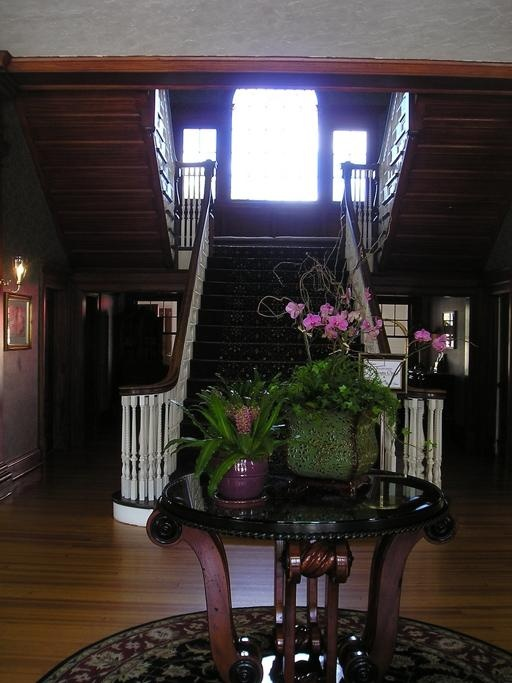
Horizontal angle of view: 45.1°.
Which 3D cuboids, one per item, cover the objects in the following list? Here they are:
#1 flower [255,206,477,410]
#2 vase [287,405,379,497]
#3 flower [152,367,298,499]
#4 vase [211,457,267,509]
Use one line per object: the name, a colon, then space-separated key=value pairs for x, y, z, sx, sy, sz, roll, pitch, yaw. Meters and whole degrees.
flower: x=0.521 y=-0.137 z=3.108 sx=0.620 sy=0.400 sz=1.181 roll=-21 pitch=16 yaw=3
vase: x=0.260 y=0.372 z=2.097 sx=0.327 sy=0.263 sz=0.306 roll=-5 pitch=-10 yaw=43
flower: x=-0.112 y=0.336 z=2.012 sx=0.415 sy=0.358 sz=0.400 roll=0 pitch=-5 yaw=-43
vase: x=-0.047 y=0.427 z=1.885 sx=0.163 sy=0.140 sz=0.118 roll=1 pitch=-1 yaw=-3
